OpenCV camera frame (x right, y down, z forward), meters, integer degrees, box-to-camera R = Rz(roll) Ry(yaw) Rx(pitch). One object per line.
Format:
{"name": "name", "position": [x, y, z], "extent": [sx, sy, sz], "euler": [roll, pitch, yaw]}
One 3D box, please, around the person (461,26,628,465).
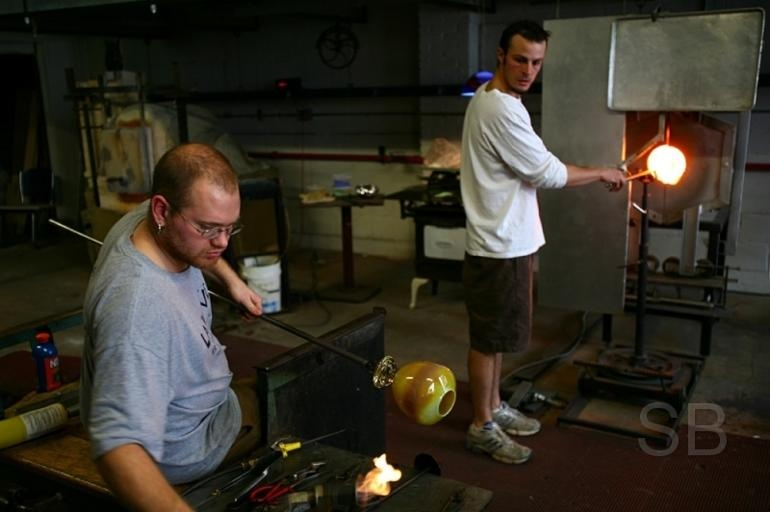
{"name": "person", "position": [0.962, -0.068, 4.237], "extent": [1.093, 2.551, 0.759], "euler": [0, 5, -15]}

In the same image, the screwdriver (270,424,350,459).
{"name": "screwdriver", "position": [-0.362, 0.870, 3.024], "extent": [0.253, 0.086, 0.050], "euler": [-11, -7, -20]}

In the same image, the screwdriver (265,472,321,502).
{"name": "screwdriver", "position": [-0.389, 0.962, 2.783], "extent": [0.245, 0.055, 0.077], "euler": [-23, 45, -20]}

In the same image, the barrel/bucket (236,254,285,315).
{"name": "barrel/bucket", "position": [-1.220, 0.232, 6.488], "extent": [0.435, 0.617, 0.434], "euler": [-1, 23, 0]}

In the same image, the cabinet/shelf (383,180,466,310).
{"name": "cabinet/shelf", "position": [0.557, -0.128, 6.322], "extent": [0.717, 1.135, 0.840], "euler": [-7, 14, -31]}

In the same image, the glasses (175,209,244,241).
{"name": "glasses", "position": [-0.736, -0.110, 2.706], "extent": [0.135, 0.039, 0.136], "euler": [35, 29, 33]}
